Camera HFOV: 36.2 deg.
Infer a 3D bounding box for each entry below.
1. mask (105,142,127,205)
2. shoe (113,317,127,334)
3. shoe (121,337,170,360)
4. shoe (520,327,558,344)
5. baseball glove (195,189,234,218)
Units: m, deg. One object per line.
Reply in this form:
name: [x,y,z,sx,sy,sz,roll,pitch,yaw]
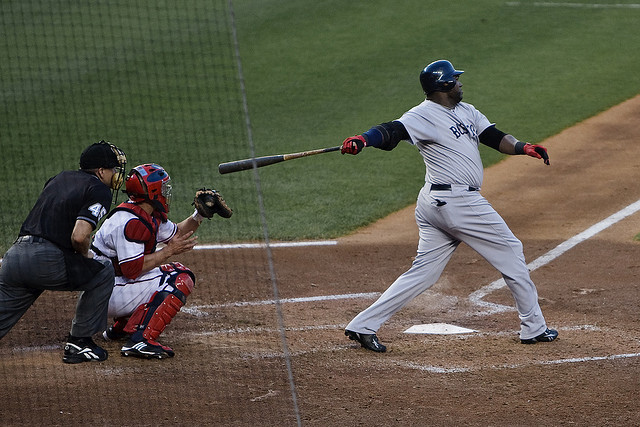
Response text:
mask: [-2.501,-0.487,11.323,0.303,0.596,0.517,12,7,-22]
shoe: [-2.379,1.331,11.628,0.154,0.237,0.046,4,26,-6]
shoe: [-2.027,1.593,11.466,0.649,0.224,0.195,4,1,-11]
shoe: [2.533,1.461,11.694,0.526,0.174,0.154,-7,17,-5]
baseball glove: [-1.307,-0.146,11.978,0.478,0.313,0.199,26,31,-13]
